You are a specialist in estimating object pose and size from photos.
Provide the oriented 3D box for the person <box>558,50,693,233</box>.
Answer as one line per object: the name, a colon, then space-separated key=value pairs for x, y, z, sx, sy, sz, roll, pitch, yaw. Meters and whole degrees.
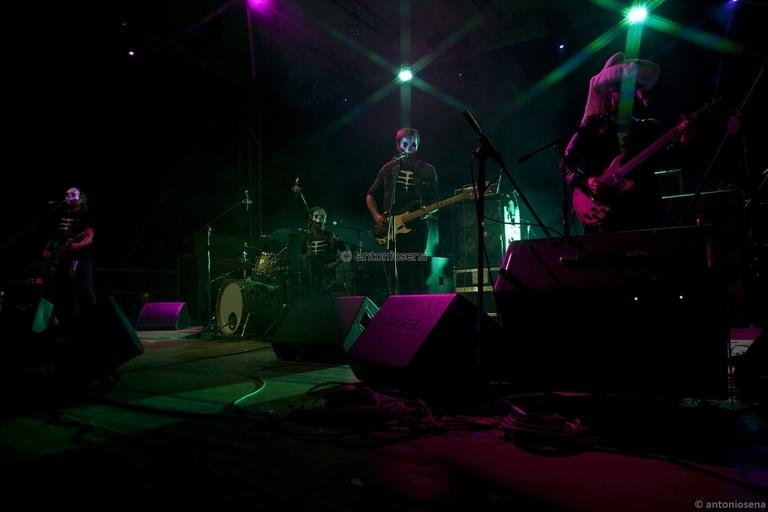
person: x=2.044 y=-0.934 z=4.862 sx=0.233 sy=1.587 sz=0.793 roll=-1 pitch=22 yaw=-47

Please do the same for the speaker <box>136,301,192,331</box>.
speaker: x=-3.728 y=1.004 z=9.552 sx=0.809 sy=0.516 sz=0.458 roll=4 pitch=-7 yaw=7

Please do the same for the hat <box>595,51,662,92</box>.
hat: x=2.106 y=-1.579 z=4.741 sx=0.395 sy=0.157 sz=0.403 roll=23 pitch=44 yaw=35

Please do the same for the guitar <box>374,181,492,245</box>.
guitar: x=0.408 y=-0.450 z=6.572 sx=1.014 sy=0.734 sz=0.404 roll=5 pitch=-7 yaw=0

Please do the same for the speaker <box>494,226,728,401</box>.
speaker: x=1.767 y=0.416 z=4.319 sx=1.591 sy=1.139 sz=1.137 roll=-4 pitch=-9 yaw=26

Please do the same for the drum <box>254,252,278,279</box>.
drum: x=-1.642 y=0.139 z=7.953 sx=0.296 sy=0.420 sz=0.233 roll=-5 pitch=-18 yaw=35

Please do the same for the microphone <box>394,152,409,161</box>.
microphone: x=0.185 y=-1.199 z=6.711 sx=0.148 sy=0.054 sz=0.152 roll=0 pitch=-3 yaw=-43

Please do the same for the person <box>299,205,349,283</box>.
person: x=-0.834 y=-0.127 z=7.747 sx=0.583 sy=1.122 sz=0.479 roll=5 pitch=-8 yaw=2

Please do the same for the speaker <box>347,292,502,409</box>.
speaker: x=0.349 y=0.716 z=4.411 sx=0.917 sy=0.620 sz=0.880 roll=5 pitch=-9 yaw=-39

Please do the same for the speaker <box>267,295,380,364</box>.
speaker: x=-0.601 y=0.703 z=5.495 sx=0.794 sy=0.429 sz=0.808 roll=-7 pitch=-6 yaw=31

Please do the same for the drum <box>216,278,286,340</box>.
drum: x=-1.811 y=0.663 z=7.754 sx=0.763 sy=0.719 sz=0.960 roll=4 pitch=-13 yaw=-36
